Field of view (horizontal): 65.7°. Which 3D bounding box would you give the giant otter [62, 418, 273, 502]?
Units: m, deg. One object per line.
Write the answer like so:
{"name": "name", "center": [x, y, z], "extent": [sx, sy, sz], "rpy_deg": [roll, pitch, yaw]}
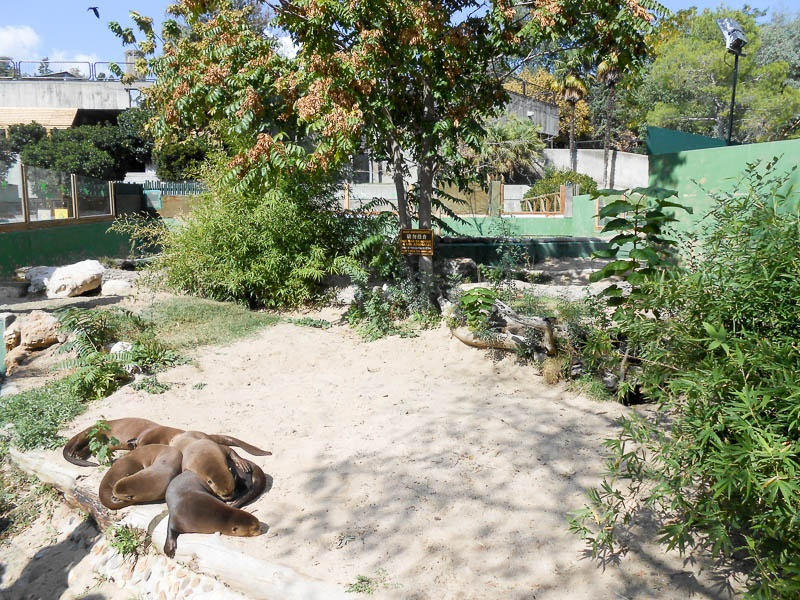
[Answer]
{"name": "giant otter", "center": [-2.872, 1.606, 6.926], "extent": [1.780, 0.344, 0.926], "rpy_deg": [0, 7, 23]}

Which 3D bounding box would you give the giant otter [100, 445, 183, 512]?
{"name": "giant otter", "center": [-2.675, 1.811, 6.400], "extent": [0.770, 0.407, 0.917], "rpy_deg": [-1, 13, 2]}

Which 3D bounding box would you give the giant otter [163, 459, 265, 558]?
{"name": "giant otter", "center": [-1.834, 2.045, 6.160], "extent": [0.927, 0.615, 0.847], "rpy_deg": [-4, 9, -10]}
